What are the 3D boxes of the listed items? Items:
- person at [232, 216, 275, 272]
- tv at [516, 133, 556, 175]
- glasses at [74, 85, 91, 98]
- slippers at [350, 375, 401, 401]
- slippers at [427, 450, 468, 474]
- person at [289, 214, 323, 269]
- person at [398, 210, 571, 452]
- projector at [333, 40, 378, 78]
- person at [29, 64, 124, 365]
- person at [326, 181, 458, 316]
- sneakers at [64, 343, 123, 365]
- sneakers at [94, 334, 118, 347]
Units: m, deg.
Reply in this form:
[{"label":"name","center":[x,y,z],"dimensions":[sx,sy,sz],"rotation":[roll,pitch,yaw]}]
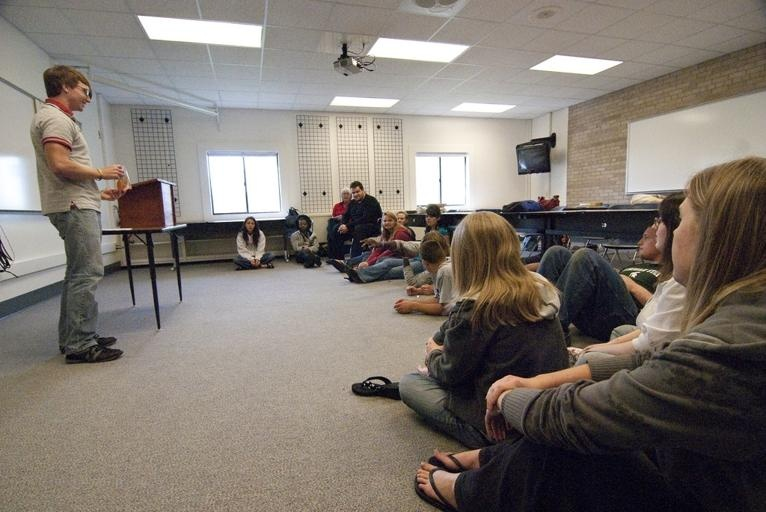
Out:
[{"label":"person","center":[-2.130,-0.209,8.107],"dimensions":[0.592,0.795,0.615],"rotation":[-4,9,-16]},{"label":"tv","center":[3.306,-2.197,11.032],"dimensions":[0.782,1.085,0.866],"rotation":[-8,10,-31]},{"label":"glasses","center":[-2.322,-1.249,3.861],"dimensions":[0.105,0.030,0.105],"rotation":[23,10,27]},{"label":"slippers","center":[-0.059,0.851,3.280],"dimensions":[0.325,0.084,0.136],"rotation":[4,3,12]},{"label":"slippers","center":[0.324,1.074,2.640],"dimensions":[0.090,0.037,0.158],"rotation":[-15,13,-32]},{"label":"person","center":[-1.315,-0.269,8.564],"dimensions":[0.470,0.823,0.857],"rotation":[-5,12,-19]},{"label":"person","center":[0.805,0.404,3.316],"dimensions":[1.226,1.434,1.187],"rotation":[-2,3,-41]},{"label":"projector","center":[-0.373,-2.526,6.602],"dimensions":[0.634,0.452,0.348],"rotation":[-5,10,-23]},{"label":"person","center":[-2.284,-0.321,3.833],"dimensions":[0.562,2.215,0.565],"rotation":[-8,11,-33]},{"label":"person","center":[0.323,0.209,5.152],"dimensions":[1.580,0.825,0.668],"rotation":[6,-5,-35]},{"label":"sneakers","center":[-2.184,0.733,3.853],"dimensions":[0.430,0.170,0.149],"rotation":[-3,2,-20]},{"label":"sneakers","center":[-2.203,0.683,4.037],"dimensions":[0.197,0.080,0.069],"rotation":[1,23,-42]}]
